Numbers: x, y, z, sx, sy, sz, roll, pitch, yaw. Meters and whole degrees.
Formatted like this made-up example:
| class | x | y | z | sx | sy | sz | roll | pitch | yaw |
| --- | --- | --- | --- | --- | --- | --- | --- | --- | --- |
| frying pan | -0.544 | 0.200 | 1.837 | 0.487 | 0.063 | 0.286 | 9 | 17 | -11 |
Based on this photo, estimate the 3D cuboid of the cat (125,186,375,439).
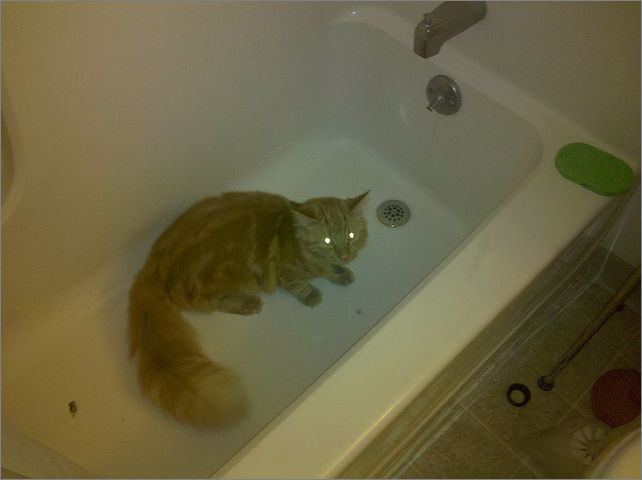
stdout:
| class | x | y | z | sx | sy | sz | roll | pitch | yaw |
| --- | --- | --- | --- | --- | --- | --- | --- | --- | --- |
| cat | -0.258 | 0.108 | 1.916 | 0.599 | 0.405 | 0.838 | 27 | 37 | 25 |
